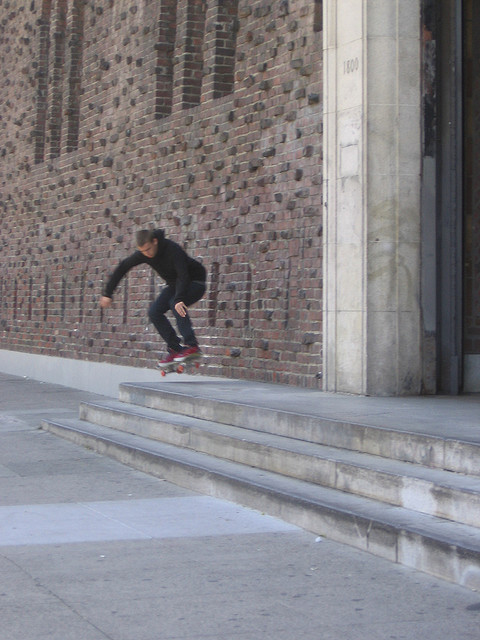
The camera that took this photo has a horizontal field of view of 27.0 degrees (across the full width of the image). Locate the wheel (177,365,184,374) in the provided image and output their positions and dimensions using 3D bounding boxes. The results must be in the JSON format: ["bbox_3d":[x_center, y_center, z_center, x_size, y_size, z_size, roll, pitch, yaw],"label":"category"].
[{"bbox_3d":[-0.625,0.516,10.303,0.087,0.075,0.097,3,2,4],"label":"wheel"}]

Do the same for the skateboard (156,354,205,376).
[{"bbox_3d":[-0.626,0.513,11.194,0.322,0.096,0.421,-11,-4,19],"label":"skateboard"}]
